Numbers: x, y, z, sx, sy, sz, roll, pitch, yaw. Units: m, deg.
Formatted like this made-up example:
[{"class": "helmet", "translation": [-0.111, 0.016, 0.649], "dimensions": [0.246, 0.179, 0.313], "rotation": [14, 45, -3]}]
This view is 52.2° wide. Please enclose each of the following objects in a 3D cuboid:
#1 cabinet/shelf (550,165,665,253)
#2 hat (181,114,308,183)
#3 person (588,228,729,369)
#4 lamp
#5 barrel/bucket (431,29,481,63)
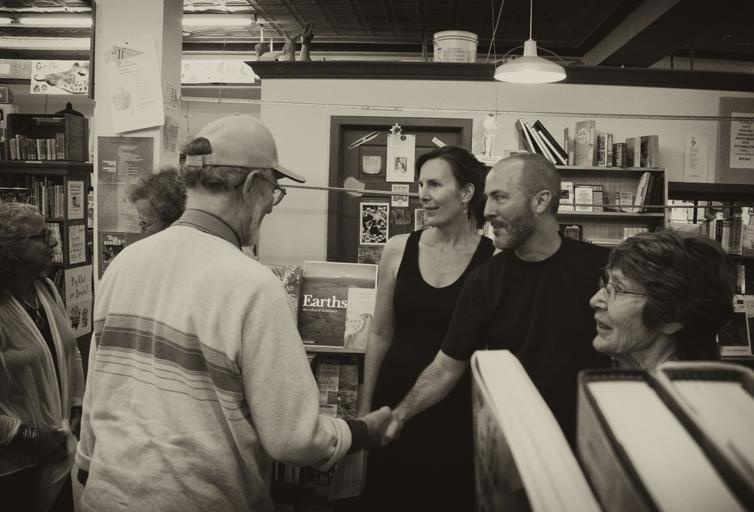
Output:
[{"class": "cabinet/shelf", "translation": [1.378, -0.289, 4.596], "dimensions": [0.608, 0.581, 0.194], "rotation": [0, -11, 2]}, {"class": "hat", "translation": [-0.616, -0.484, 3.472], "dimensions": [0.371, 0.195, 0.245], "rotation": [4, 7, -33]}, {"class": "person", "translation": [1.445, 0.213, 3.919], "dimensions": [0.609, 0.825, 0.531], "rotation": [15, 3, 16]}, {"class": "lamp", "translation": [0.984, -1.425, 5.007], "dimensions": [0.470, 0.563, 0.380], "rotation": [0, 3, -39]}, {"class": "barrel/bucket", "translation": [0.636, -1.665, 6.209], "dimensions": [0.288, 0.284, 0.294], "rotation": [0, 3, 0]}]
